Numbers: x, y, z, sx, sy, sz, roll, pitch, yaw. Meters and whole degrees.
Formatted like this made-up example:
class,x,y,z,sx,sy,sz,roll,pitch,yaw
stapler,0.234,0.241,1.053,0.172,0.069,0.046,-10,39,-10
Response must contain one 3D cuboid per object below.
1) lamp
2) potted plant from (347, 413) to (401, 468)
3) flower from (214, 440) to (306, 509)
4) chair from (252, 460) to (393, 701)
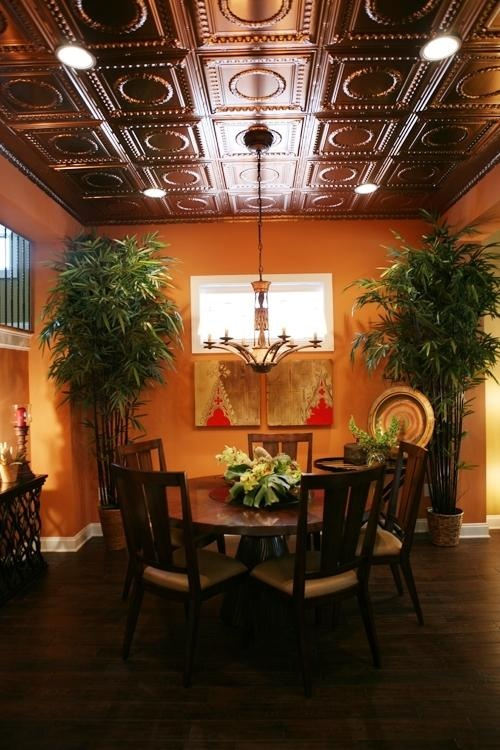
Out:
class,x,y,z,sx,sy,sz,roll,pitch,yaw
lamp,0.071,-0.697,2.972,0.650,1.330,0.643,-9,17,-29
potted plant,0.872,0.474,3.520,0.350,0.344,0.214,-4,-10,17
flower,0.110,0.498,2.635,0.289,0.130,0.309,14,15,32
chair,0.284,0.858,2.272,0.462,0.835,0.542,2,-6,-26
